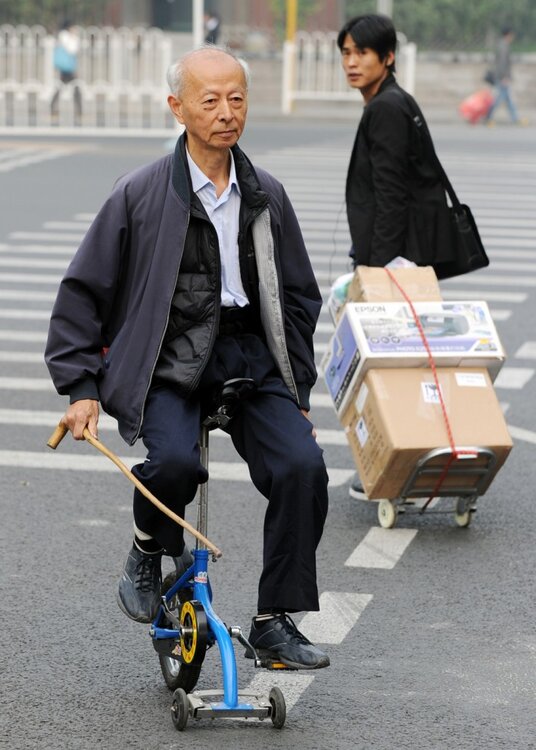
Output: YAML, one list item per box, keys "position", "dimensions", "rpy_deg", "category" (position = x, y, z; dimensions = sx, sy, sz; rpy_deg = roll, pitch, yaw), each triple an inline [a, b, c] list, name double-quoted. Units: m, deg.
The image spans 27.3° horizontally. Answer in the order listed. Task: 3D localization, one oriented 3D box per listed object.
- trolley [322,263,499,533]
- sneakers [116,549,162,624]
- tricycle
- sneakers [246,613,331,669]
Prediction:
- position: [0.577, -0.005, 4.974]
  dimensions: [0.693, 0.633, 1.153]
  rpy_deg: [-1, 45, -20]
  category: "trolley"
- position: [-0.381, 0.587, 3.226]
  dimensions: [0.094, 0.111, 0.258]
  rpy_deg: [11, 39, -23]
  category: "sneakers"
- position: [-0.128, 0.473, 2.938]
  dimensions: [0.356, 0.909, 0.562]
  rpy_deg: [0, 10, -9]
  category: "tricycle"
- position: [0.052, 0.720, 2.999]
  dimensions: [0.110, 0.122, 0.296]
  rpy_deg: [11, -8, -41]
  category: "sneakers"
